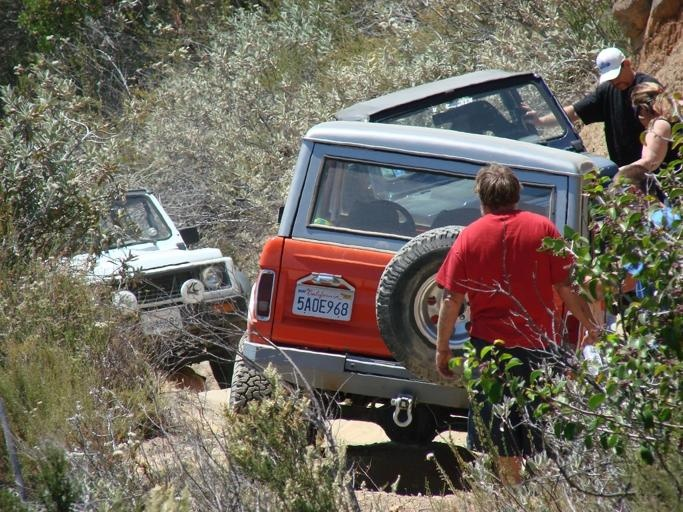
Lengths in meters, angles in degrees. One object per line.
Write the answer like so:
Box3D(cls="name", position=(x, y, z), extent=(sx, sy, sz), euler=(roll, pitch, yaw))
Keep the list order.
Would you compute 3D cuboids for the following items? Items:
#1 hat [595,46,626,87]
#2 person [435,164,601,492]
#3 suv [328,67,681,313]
Box3D(cls="hat", position=(2.664, -1.937, 9.409), extent=(0.222, 0.190, 0.382), euler=(-10, 44, 44))
Box3D(cls="person", position=(1.329, 0.548, 7.517), extent=(1.232, 2.260, 1.080), euler=(-13, 23, 1))
Box3D(cls="suv", position=(1.338, -0.523, 8.022), extent=(1.617, 1.554, 3.041), euler=(-16, -2, -3))
